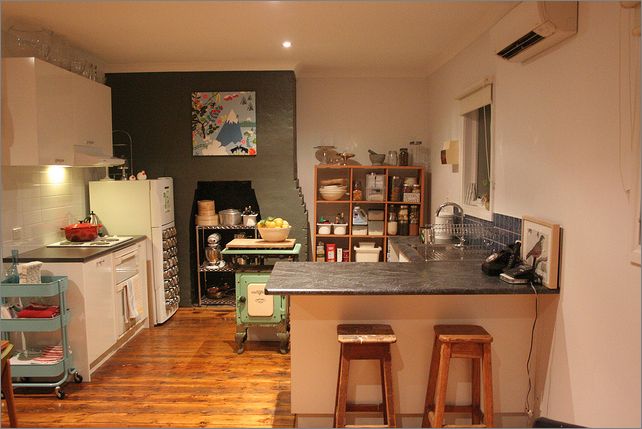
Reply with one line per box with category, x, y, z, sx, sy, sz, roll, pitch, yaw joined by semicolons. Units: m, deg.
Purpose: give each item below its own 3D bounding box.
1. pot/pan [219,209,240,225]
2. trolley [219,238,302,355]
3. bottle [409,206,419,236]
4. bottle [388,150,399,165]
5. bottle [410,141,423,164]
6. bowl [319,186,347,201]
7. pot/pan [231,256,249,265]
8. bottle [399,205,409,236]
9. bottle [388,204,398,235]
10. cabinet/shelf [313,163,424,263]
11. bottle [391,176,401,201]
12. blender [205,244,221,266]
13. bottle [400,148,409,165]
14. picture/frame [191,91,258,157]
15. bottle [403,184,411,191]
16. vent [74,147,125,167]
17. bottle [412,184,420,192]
pot/pan;-1.225;0.036;6.637;0.220;0.157;0.216;-4;7;-41
trolley;-0.634;0.906;5.491;0.780;1.193;0.545;0;14;6
bottle;1.247;0.068;6.636;0.128;0.396;0.092;1;14;10
bottle;0.984;-0.788;6.797;0.150;0.191;0.284;1;13;9
bottle;1.310;-0.835;6.833;0.194;0.294;0.207;-1;14;0
bowl;0.164;-0.264;6.657;0.237;0.125;0.233;1;-1;0
pot/pan;-0.904;0.502;5.538;0.132;0.135;0.122;0;7;-8
bottle;1.111;0.071;6.634;0.144;0.396;0.120;-2;14;-1
bottle;0.967;0.071;6.662;0.144;0.393;0.159;1;14;8
cabinet/shelf;0.658;-0.050;6.608;1.381;1.228;0.387;0;8;2
bottle;1.002;-0.358;6.649;0.134;0.319;0.141;-1;14;0
blender;-1.437;0.541;6.712;0.245;0.249;0.258;2;4;13
bottle;1.122;-0.790;6.733;0.115;0.215;0.195;2;14;14
picture/frame;-1.265;-1.231;6.449;0.852;0.791;0.032;0;6;0
bottle;1.158;-0.348;6.611;0.108;0.106;0.047;1;14;9
vent;-2.551;-0.652;5.598;0.264;0.119;0.368;-1;1;-1
bottle;1.268;-0.355;6.594;0.096;0.098;0.095;1;7;9
